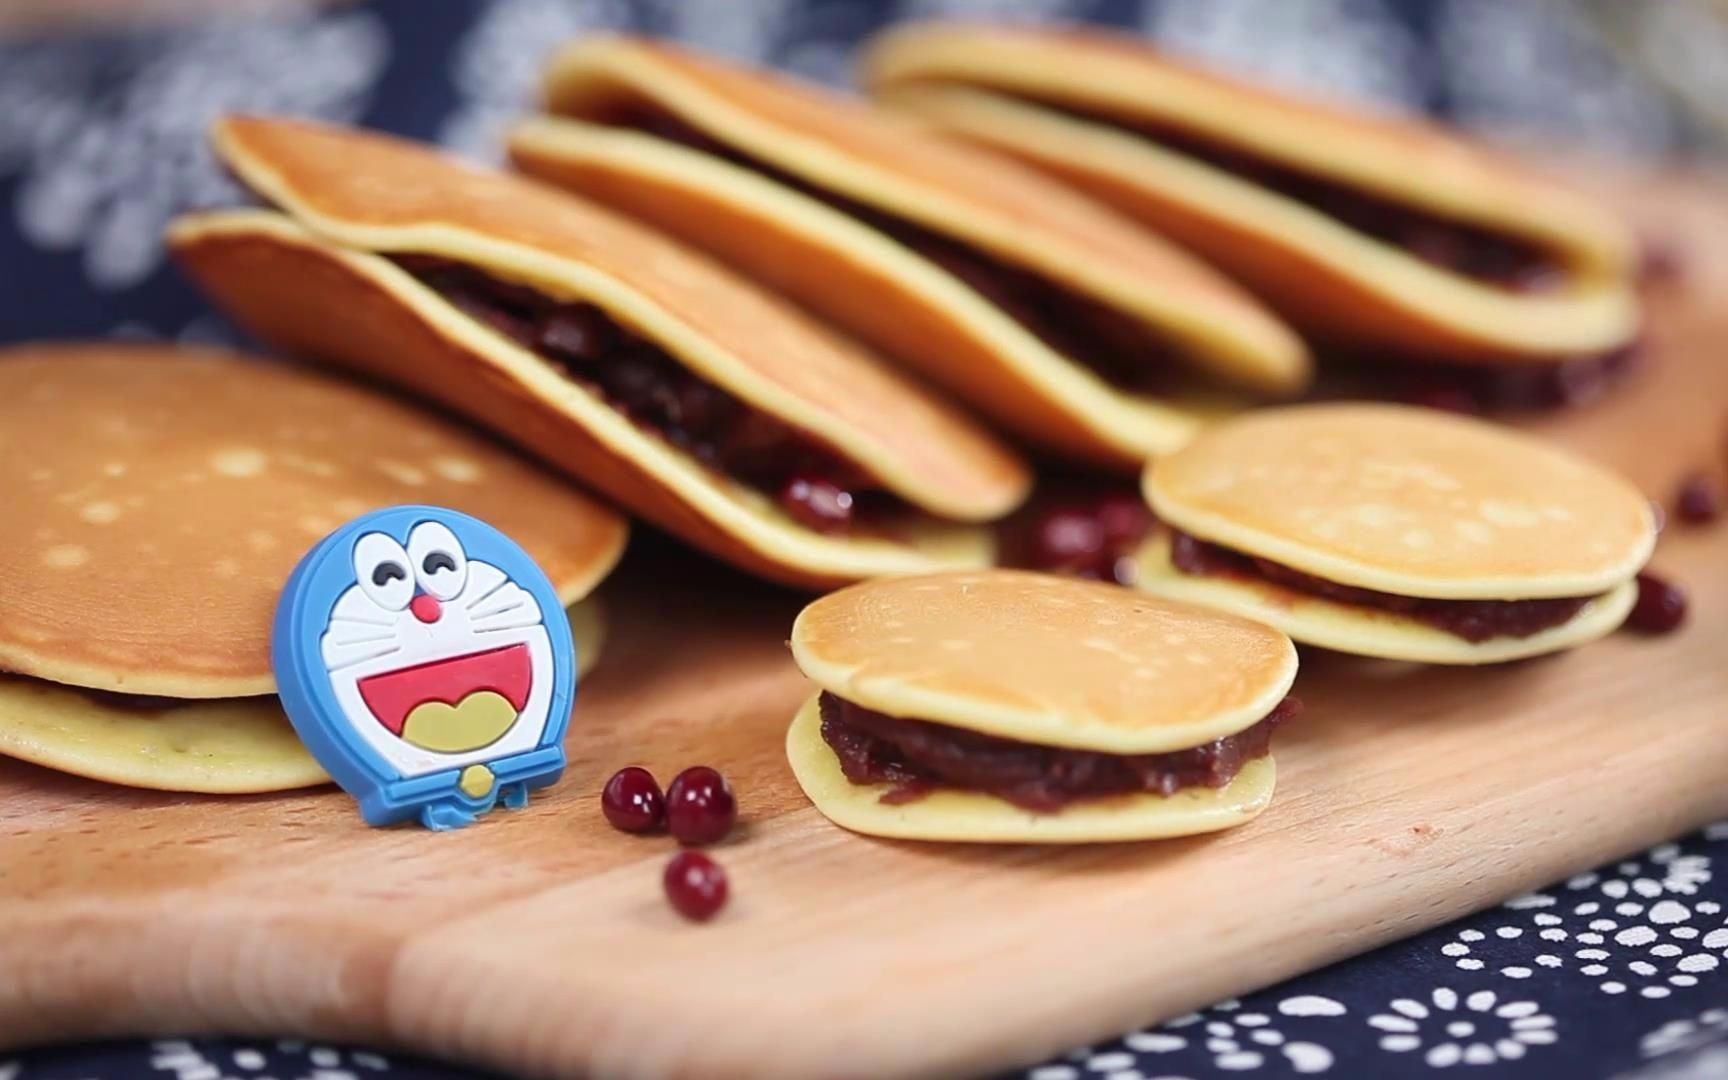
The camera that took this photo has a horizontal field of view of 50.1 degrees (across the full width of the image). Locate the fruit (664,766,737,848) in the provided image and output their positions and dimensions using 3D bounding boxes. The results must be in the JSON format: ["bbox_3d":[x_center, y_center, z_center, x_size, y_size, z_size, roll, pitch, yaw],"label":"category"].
[{"bbox_3d":[-0.150,0.243,1.668,0.072,0.070,0.066,-3,0,-5],"label":"fruit"}]
